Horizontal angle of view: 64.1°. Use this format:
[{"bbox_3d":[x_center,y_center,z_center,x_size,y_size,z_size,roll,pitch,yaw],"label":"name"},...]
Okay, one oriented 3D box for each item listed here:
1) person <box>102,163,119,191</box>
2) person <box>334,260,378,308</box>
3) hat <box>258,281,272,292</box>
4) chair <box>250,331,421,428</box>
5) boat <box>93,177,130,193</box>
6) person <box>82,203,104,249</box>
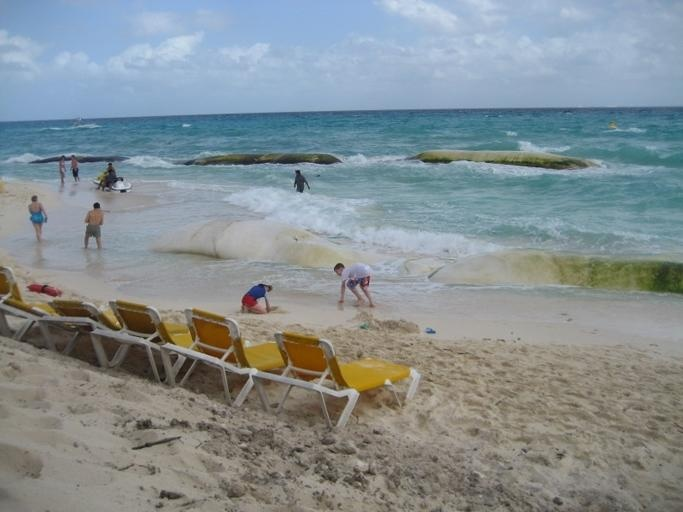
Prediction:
[{"bbox_3d":[-10.215,-3.555,24.132,0.769,1.142,1.041,0,11,0],"label":"person"},{"bbox_3d":[0.251,0.503,10.599,0.709,0.764,0.863,0,11,-2],"label":"person"},{"bbox_3d":[-1.280,0.522,9.420,0.205,0.077,0.150,21,-1,-37],"label":"hat"},{"bbox_3d":[-0.010,1.164,5.716,0.961,0.586,1.531,4,5,42],"label":"chair"},{"bbox_3d":[-10.137,-3.205,24.251,1.719,0.497,0.897,16,16,40],"label":"boat"},{"bbox_3d":[-6.513,-0.843,14.294,0.505,1.167,1.423,-5,12,-24],"label":"person"}]
